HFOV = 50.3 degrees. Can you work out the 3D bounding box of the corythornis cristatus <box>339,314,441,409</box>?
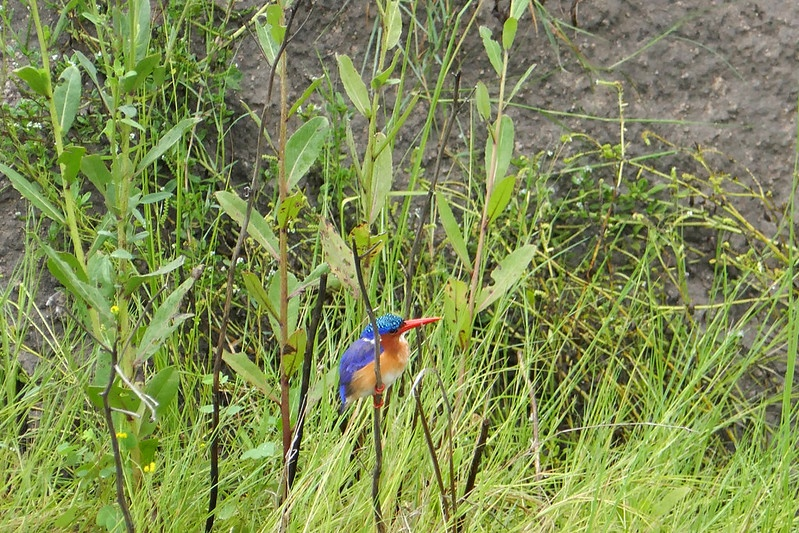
[{"bbox_3d":[-0.071,0.343,3.318,0.382,0.374,0.191,8,24,17],"label":"corythornis cristatus"}]
